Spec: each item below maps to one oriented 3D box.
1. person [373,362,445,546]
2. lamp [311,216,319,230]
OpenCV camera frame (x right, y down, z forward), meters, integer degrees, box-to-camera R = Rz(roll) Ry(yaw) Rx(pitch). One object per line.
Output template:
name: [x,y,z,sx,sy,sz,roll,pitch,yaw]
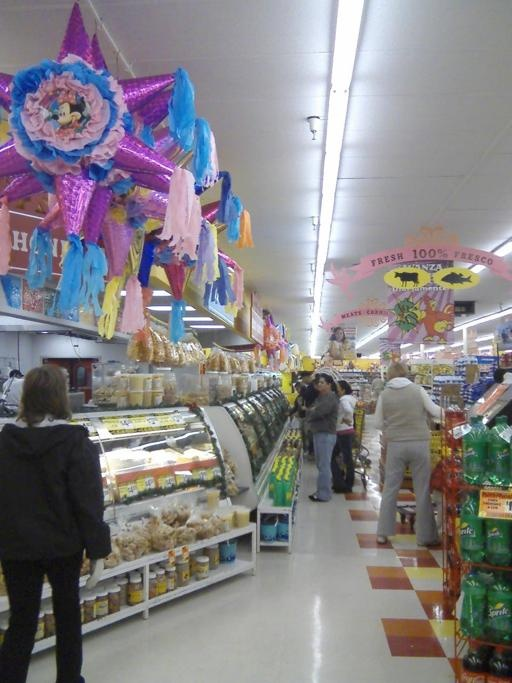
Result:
person: [1.298,0.948,4.260,0.517,1.545,0.452,0,-6,13]
lamp: [0.803,-1.586,6.687,0.074,0.137,0.070,1,-6,-3]
